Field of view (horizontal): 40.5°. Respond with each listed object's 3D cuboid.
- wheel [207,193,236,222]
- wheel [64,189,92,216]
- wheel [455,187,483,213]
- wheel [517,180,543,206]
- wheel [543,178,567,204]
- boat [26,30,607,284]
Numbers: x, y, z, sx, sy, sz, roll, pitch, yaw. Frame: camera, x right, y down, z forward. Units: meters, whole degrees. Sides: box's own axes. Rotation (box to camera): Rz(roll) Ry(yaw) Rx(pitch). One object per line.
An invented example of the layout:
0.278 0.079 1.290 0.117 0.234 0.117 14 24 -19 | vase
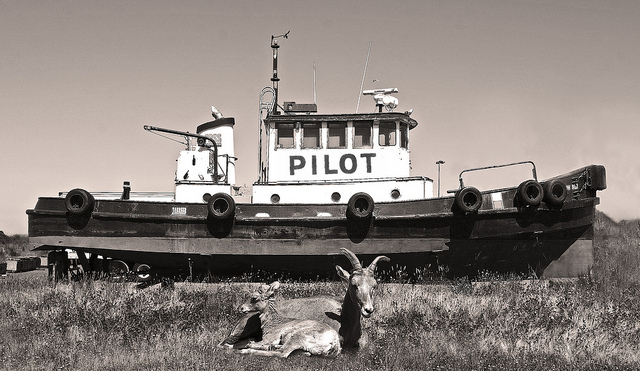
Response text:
-3.463 0.789 30.352 0.801 0.923 0.339 -4 -2 -3 | wheel
-8.597 0.503 30.719 0.819 0.981 0.424 8 19 -6 | wheel
5.153 0.492 29.965 0.946 0.836 0.541 0 -13 9 | wheel
7.373 0.243 30.223 0.308 0.896 0.859 -27 0 28 | wheel
8.217 0.218 30.191 0.896 0.804 0.319 4 -13 -6 | wheel
-2.018 -0.618 35.866 24.241 13.326 8.550 -1 -3 1 | boat
